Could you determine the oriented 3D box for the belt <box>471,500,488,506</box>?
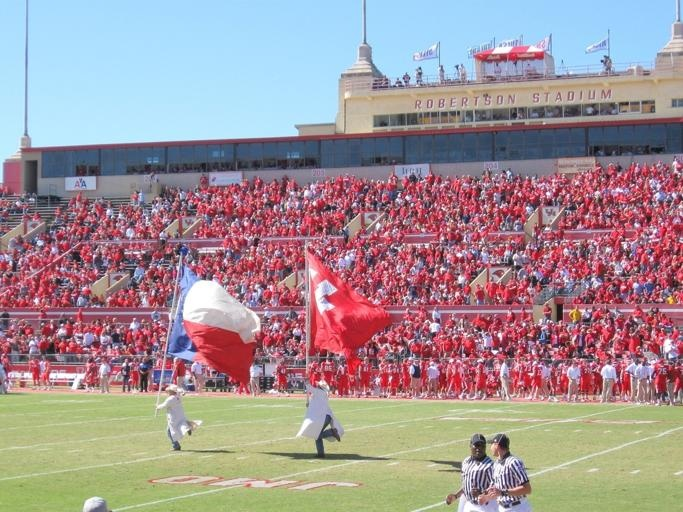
[{"bbox_3d":[4.356,7.669,51.315,0.541,0.180,0.187,-2,-3,10],"label":"belt"}]

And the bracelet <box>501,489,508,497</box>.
[{"bbox_3d":[5.088,7.320,51.129,0.166,0.165,0.163,0,-1,-27],"label":"bracelet"}]
